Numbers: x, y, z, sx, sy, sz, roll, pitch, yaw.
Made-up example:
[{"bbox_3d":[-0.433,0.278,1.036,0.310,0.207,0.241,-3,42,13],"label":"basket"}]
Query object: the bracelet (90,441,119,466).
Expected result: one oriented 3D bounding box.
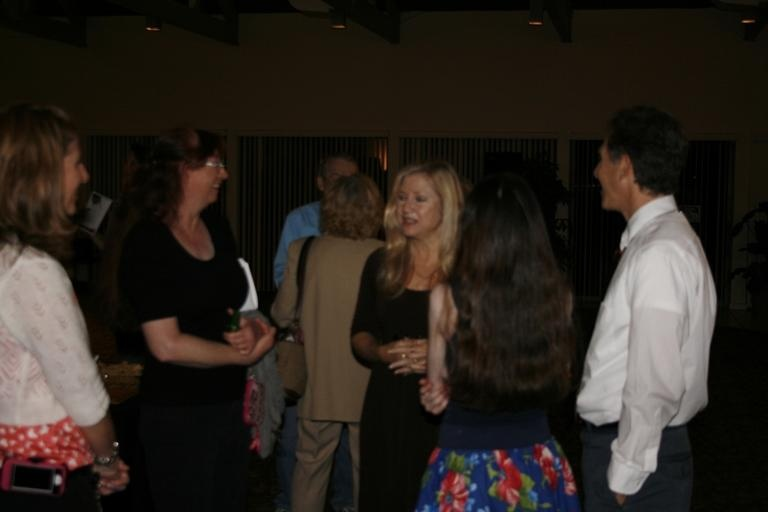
[{"bbox_3d":[-1.098,0.767,2.491,0.081,0.054,0.107,-5,0,2],"label":"bracelet"}]
